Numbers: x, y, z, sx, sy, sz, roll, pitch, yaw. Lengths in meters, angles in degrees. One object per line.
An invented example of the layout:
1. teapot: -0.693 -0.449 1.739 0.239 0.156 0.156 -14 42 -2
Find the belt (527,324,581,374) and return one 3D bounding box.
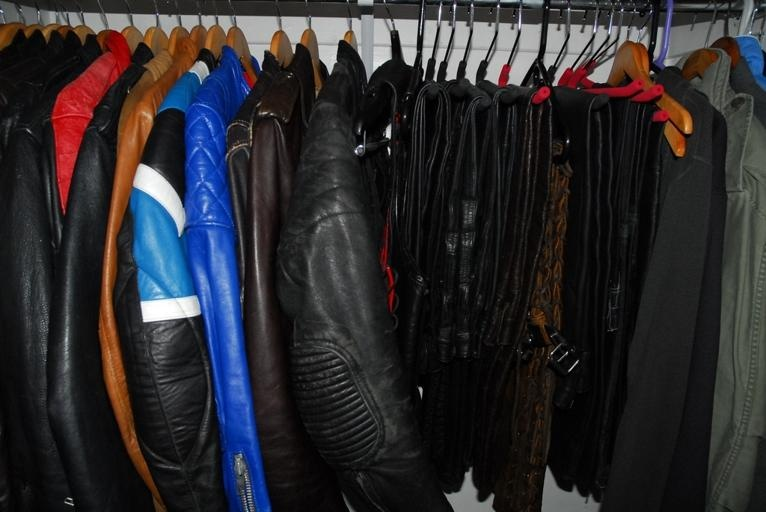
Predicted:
1. belt: 0.506 0.250 1.929 0.106 0.171 0.057 -44 -4 22
